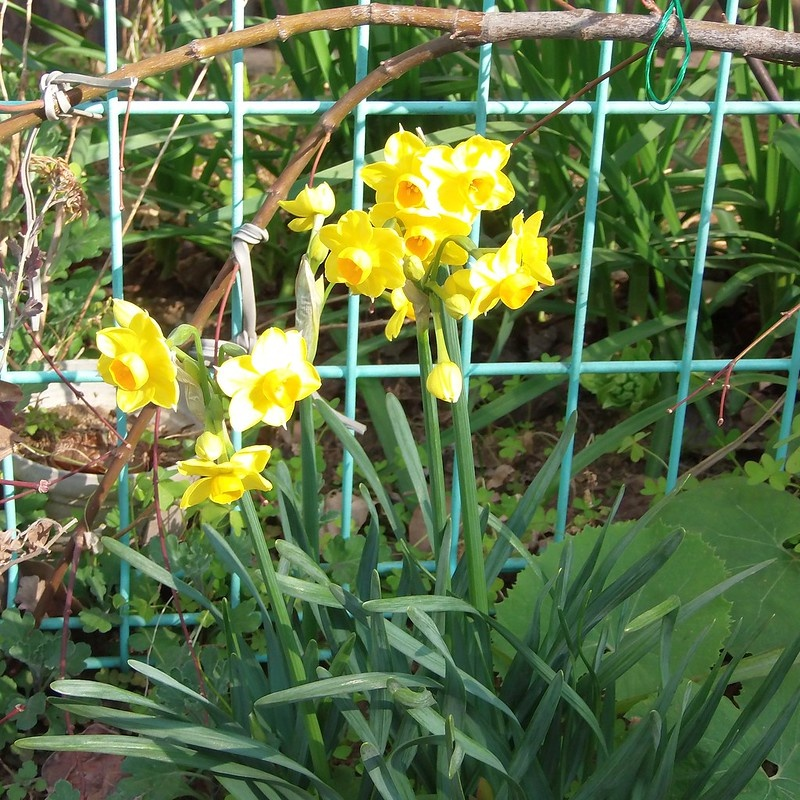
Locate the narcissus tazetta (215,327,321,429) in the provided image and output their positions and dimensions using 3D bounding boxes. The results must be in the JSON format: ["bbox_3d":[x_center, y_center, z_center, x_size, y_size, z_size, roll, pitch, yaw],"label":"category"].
[{"bbox_3d":[-0.136,-0.026,0.829,0.089,0.029,0.068,-10,-22,-49],"label":"narcissus tazetta"}]

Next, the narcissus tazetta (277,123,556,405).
[{"bbox_3d":[0.007,-0.147,0.957,0.270,0.300,0.243,3,8,-12],"label":"narcissus tazetta"}]

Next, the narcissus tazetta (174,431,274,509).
[{"bbox_3d":[-0.181,0.075,0.841,0.101,0.039,0.076,-7,7,11],"label":"narcissus tazetta"}]
